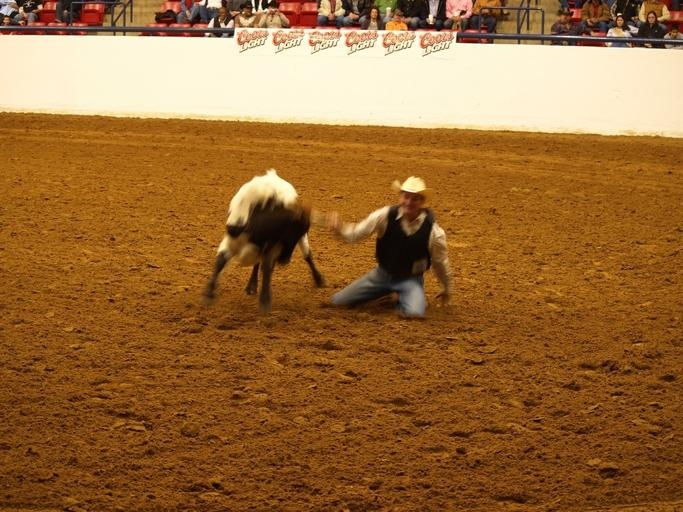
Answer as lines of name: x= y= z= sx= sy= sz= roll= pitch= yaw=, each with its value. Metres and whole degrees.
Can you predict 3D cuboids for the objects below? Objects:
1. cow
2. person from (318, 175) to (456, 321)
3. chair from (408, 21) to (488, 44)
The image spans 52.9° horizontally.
cow: x=-0.842 y=-0.124 z=6.888 sx=0.940 sy=1.461 sz=0.373 roll=-8 pitch=19 yaw=-34
person: x=0.542 y=-0.114 z=7.256 sx=1.115 sy=1.463 sz=0.550 roll=9 pitch=17 yaw=26
chair: x=2.562 y=-5.544 z=17.061 sx=1.649 sy=0.726 sz=0.496 roll=5 pitch=11 yaw=22
